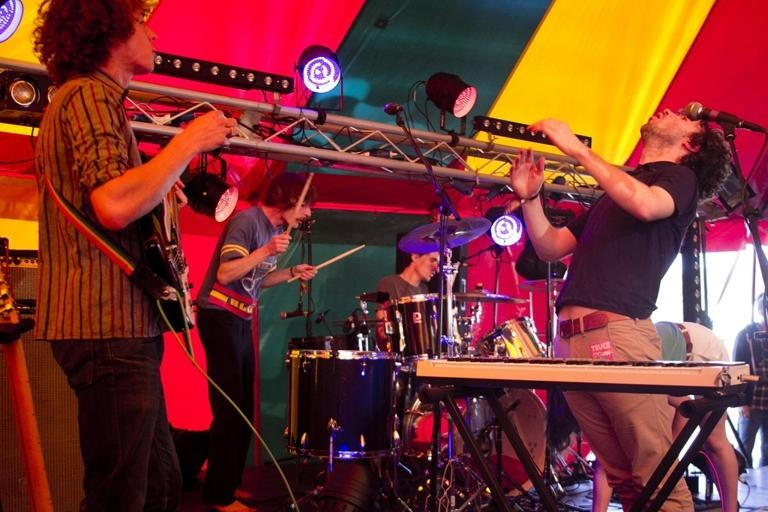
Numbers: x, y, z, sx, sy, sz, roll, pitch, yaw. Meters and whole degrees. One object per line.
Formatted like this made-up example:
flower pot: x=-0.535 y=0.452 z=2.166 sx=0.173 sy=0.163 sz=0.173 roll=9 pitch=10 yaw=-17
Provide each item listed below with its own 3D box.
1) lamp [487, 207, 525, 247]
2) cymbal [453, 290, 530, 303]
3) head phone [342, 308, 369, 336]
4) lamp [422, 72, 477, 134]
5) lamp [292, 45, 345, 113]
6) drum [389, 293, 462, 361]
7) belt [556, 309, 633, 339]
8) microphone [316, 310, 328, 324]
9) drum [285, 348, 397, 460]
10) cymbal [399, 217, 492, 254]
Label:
lamp: x=1.259 y=-0.309 z=7.146 sx=0.410 sy=0.402 sz=0.194 roll=-9 pitch=12 yaw=-14
cymbal: x=0.856 y=0.350 z=5.839 sx=0.303 sy=0.052 sz=0.292 roll=11 pitch=-10 yaw=-24
head phone: x=-0.228 y=0.600 z=6.612 sx=0.248 sy=0.345 sz=0.117 roll=-3 pitch=-18 yaw=21
lamp: x=0.569 y=-1.355 z=6.191 sx=0.369 sy=0.484 sz=0.521 roll=13 pitch=6 yaw=-40
lamp: x=-0.539 y=-1.484 z=5.773 sx=0.386 sy=0.510 sz=0.383 roll=1 pitch=1 yaw=-13
drum: x=0.339 y=0.635 z=5.964 sx=0.544 sy=0.553 sz=0.539 roll=-6 pitch=-6 yaw=8
belt: x=1.159 y=0.382 z=3.933 sx=0.230 sy=0.067 sz=0.202 roll=1 pitch=-24 yaw=-30
microphone: x=-0.706 y=0.675 z=7.704 sx=0.189 sy=0.055 sz=0.108 roll=-28 pitch=2 yaw=-8
drum: x=-0.293 y=1.125 z=5.492 sx=0.826 sy=0.669 sz=0.825 roll=0 pitch=-4 yaw=5
cymbal: x=0.551 y=-0.200 z=6.320 sx=0.496 sy=0.115 sz=0.503 roll=-21 pitch=-17 yaw=13
